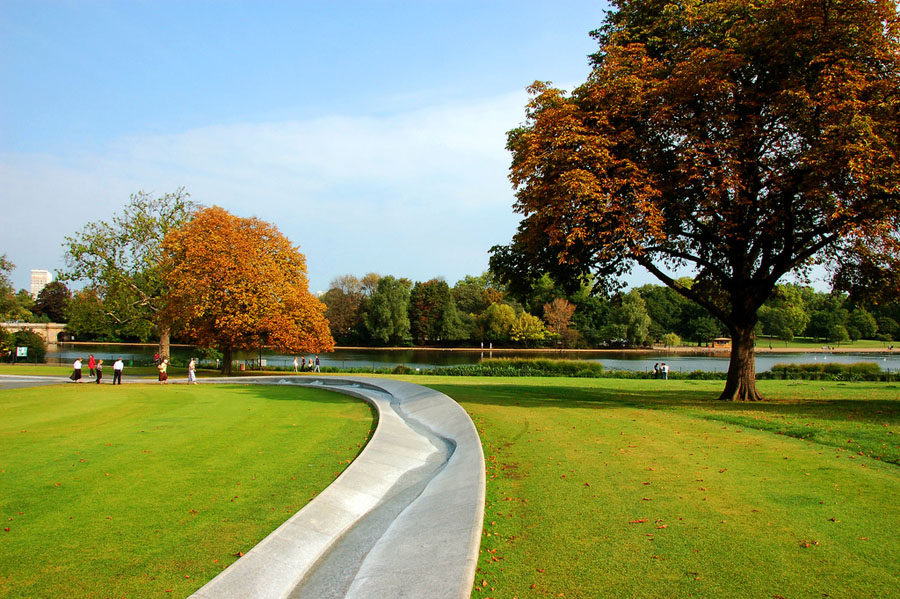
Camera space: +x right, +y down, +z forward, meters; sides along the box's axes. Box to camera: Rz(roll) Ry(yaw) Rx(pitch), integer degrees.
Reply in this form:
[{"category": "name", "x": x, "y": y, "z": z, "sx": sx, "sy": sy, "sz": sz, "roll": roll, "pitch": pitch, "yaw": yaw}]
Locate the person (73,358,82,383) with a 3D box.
[{"category": "person", "x": -21.646, "y": 4.163, "z": 41.772, "sx": 0.421, "sy": 1.318, "sz": 1.509, "roll": 2, "pitch": -5, "yaw": -31}]
